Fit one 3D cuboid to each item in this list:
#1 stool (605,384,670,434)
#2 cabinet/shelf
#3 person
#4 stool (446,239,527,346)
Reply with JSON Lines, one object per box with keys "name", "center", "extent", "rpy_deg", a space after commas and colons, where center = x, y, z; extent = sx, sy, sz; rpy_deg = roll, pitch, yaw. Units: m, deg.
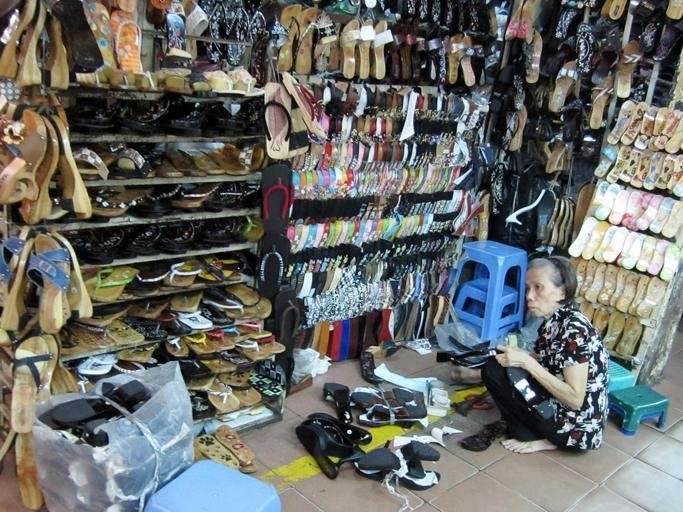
{"name": "stool", "center": [2.117, 1.054, 3.494], "extent": [0.366, 0.194, 0.338], "rpy_deg": [-15, 27, -21]}
{"name": "cabinet/shelf", "center": [-1.002, 0.185, 2.923], "extent": [1.276, 1.824, 0.910], "rpy_deg": [-11, 29, -28]}
{"name": "person", "center": [1.315, 0.605, 3.791], "extent": [1.533, 1.562, 0.977], "rpy_deg": [4, 9, 12]}
{"name": "stool", "center": [1.351, 0.364, 4.469], "extent": [0.728, 0.715, 0.688], "rpy_deg": [-1, 11, -25]}
